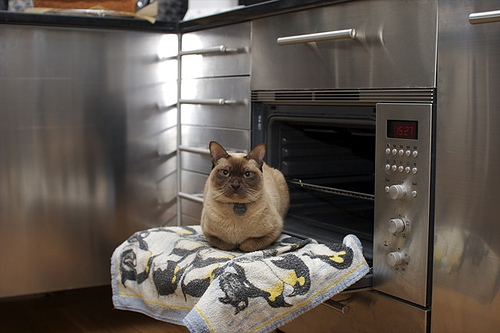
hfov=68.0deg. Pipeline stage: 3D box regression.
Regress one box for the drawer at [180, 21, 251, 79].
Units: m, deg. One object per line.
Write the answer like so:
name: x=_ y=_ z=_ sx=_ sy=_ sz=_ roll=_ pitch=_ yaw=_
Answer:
drawer: x=-0.200 y=-0.613 z=1.984 sx=0.071 sy=0.286 sz=0.582 roll=-10 pitch=18 yaw=-40

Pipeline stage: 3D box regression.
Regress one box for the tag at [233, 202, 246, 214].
tag: x=-0.041 y=0.165 z=1.476 sx=0.049 sy=0.041 sz=0.016 roll=1 pitch=14 yaw=0

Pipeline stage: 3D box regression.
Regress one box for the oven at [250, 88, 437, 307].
oven: x=0.548 y=0.018 z=1.800 sx=0.808 sy=0.746 sz=1.141 roll=-4 pitch=13 yaw=-23

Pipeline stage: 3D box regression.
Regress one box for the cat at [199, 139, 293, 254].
cat: x=-0.024 y=0.097 z=1.726 sx=0.395 sy=0.451 sz=0.575 roll=1 pitch=13 yaw=7

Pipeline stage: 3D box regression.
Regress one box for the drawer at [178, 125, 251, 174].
drawer: x=-0.143 y=-0.159 z=2.128 sx=0.360 sy=0.304 sz=0.382 roll=9 pitch=14 yaw=42
